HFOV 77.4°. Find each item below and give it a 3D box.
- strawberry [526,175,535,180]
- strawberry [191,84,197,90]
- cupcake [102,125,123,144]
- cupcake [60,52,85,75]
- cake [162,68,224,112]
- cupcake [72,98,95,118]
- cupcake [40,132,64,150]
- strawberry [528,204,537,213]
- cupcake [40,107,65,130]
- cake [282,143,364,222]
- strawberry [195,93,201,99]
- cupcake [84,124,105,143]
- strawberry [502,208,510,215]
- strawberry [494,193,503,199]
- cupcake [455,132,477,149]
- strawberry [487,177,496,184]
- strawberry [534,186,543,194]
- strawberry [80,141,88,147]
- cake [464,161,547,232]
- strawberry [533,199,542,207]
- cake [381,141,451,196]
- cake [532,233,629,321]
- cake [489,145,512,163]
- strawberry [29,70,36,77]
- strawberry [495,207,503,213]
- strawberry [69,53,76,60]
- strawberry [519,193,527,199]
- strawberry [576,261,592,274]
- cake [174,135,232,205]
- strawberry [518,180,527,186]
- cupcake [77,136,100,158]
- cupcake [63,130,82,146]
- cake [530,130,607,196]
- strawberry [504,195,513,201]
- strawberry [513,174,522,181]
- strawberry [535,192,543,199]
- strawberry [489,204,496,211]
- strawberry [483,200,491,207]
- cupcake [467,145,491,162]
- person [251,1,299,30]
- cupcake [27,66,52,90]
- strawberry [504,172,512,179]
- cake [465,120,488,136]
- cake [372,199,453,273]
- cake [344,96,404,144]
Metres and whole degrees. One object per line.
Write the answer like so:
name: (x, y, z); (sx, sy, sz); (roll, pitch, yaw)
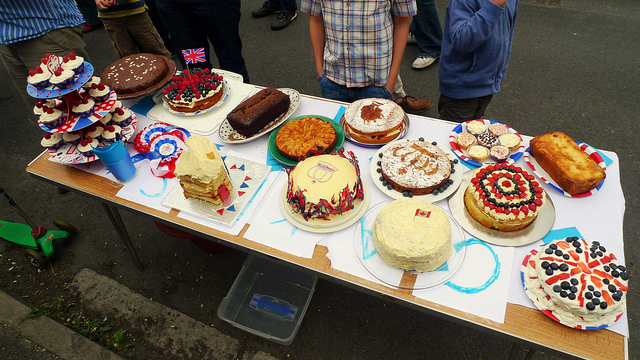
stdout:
strawberry: (2.500, -0.030, 4.723); (0.063, 0.038, 0.050); (13, 29, 27)
strawberry: (-1.764, -1.302, 5.559); (0.077, 0.036, 0.065); (-13, 52, -7)
cupcake: (-2.695, -0.588, 5.210); (0.239, 0.223, 0.244); (-1, 61, -3)
cupcake: (-3.027, -1.430, 4.957); (0.253, 0.221, 0.259); (10, 41, 4)
cake: (-1.782, -1.288, 5.646); (0.840, 0.313, 0.602); (-19, 53, -12)
cupcake: (-2.965, -0.905, 4.998); (0.232, 0.167, 0.238); (-13, 53, -13)
cupcake: (-3.484, -0.509, 5.202); (0.234, 0.204, 0.240); (-3, 40, -5)
strawberry: (2.440, 0.323, 4.584); (0.102, 0.046, 0.069); (4, 52, 6)
cupcake: (-3.328, -0.762, 4.946); (0.250, 0.210, 0.233); (34, 56, 29)
cake: (0.042, 0.044, 4.850); (0.971, 0.404, 0.844); (-3, 52, 0)
strawberry: (-1.697, -1.160, 5.522); (0.077, 0.045, 0.074); (34, 60, 26)
cupcake: (-2.941, -0.602, 5.285); (0.223, 0.214, 0.229); (-8, 53, -4)
strawberry: (2.134, 0.365, 4.567); (0.070, 0.033, 0.056); (8, 52, 9)
strawberry: (2.070, 0.183, 4.618); (0.092, 0.021, 0.071); (21, 56, 19)
cupcake: (1.848, -0.509, 5.066); (0.204, 0.061, 0.202); (36, 69, 23)
strawberry: (2.019, 0.005, 4.704); (0.066, 0.043, 0.078); (-18, 43, -38)
strawberry: (2.551, 0.123, 4.656); (0.101, 0.045, 0.084); (17, 55, 16)
strawberry: (-3.054, -0.462, 5.141); (0.097, 0.041, 0.068); (2, 52, 4)
cake: (2.212, 0.177, 4.795); (0.889, 0.346, 0.857); (-6, 51, -6)
strawberry: (2.510, 0.260, 4.598); (0.102, 0.044, 0.080); (-21, 53, -13)
cake: (1.173, -0.146, 4.926); (0.816, 0.239, 0.671); (7, 52, 8)
cake: (2.875, 1.100, 4.399); (0.949, 0.401, 0.833); (-9, 52, -4)
cake: (2.243, -0.356, 4.912); (0.204, 0.080, 0.214); (-3, 58, 3)
strawberry: (-3.481, -1.283, 4.815); (0.063, 0.064, 0.028); (3, 27, 5)
strawberry: (2.053, 0.350, 4.579); (0.081, 0.036, 0.050); (2, 52, 5)
strawberry: (-3.028, -1.508, 4.852); (0.057, 0.061, 0.079); (-33, 65, -26)
strawberry: (2.355, 0.183, 4.624); (0.096, 0.019, 0.056); (-5, 52, -1)
strawberry: (2.908, 0.970, 4.391); (0.074, 0.029, 0.144); (-31, 77, -8)
cake: (-1.449, -0.108, 4.970); (0.576, 0.707, 0.633); (30, 51, 27)
strawberry: (2.369, 0.035, 4.692); (0.059, 0.032, 0.061); (8, 53, 24)
cupcake: (-3.020, -0.411, 5.259); (0.252, 0.235, 0.251); (-12, 71, -1)
cupcake: (-3.234, -0.549, 5.271); (0.186, 0.167, 0.192); (-1, 55, 0)
cake: (2.984, -0.202, 4.984); (0.552, 0.264, 0.876); (-22, 58, -14)
strawberry: (2.183, 0.209, 4.619); (0.092, 0.017, 0.058); (27, 58, 22)
strawberry: (2.327, -0.027, 4.715); (0.066, 0.079, 0.068); (-7, 90, -9)
strawberry: (2.540, 0.183, 4.627); (0.053, 0.017, 0.067); (-32, 56, -15)
strawberry: (1.988, 0.315, 4.601); (0.065, 0.040, 0.055); (-4, 51, 0)
strawberry: (1.925, 0.272, 4.618); (0.083, 0.042, 0.054); (25, 57, 21)
cupcake: (1.986, -0.339, 5.022); (0.248, 0.092, 0.234); (-31, 56, -20)
person: (-1.036, -4.107, 9.543); (0.842, 0.483, 0.889); (-38, 59, -24)
cupcake: (-3.380, -1.228, 4.823); (0.281, 0.190, 0.200); (0, 52, 3)
strawberry: (2.232, -0.051, 4.728); (0.063, 0.053, 0.054); (9, 85, -15)
cake: (2.026, -0.673, 5.150); (0.254, 0.061, 0.210); (-32, 57, -21)
cake: (1.071, 0.636, 4.594); (0.930, 0.441, 0.710); (5, 52, 7)
cake: (0.712, -0.776, 5.250); (0.787, 0.263, 0.602); (0, 52, 3)
